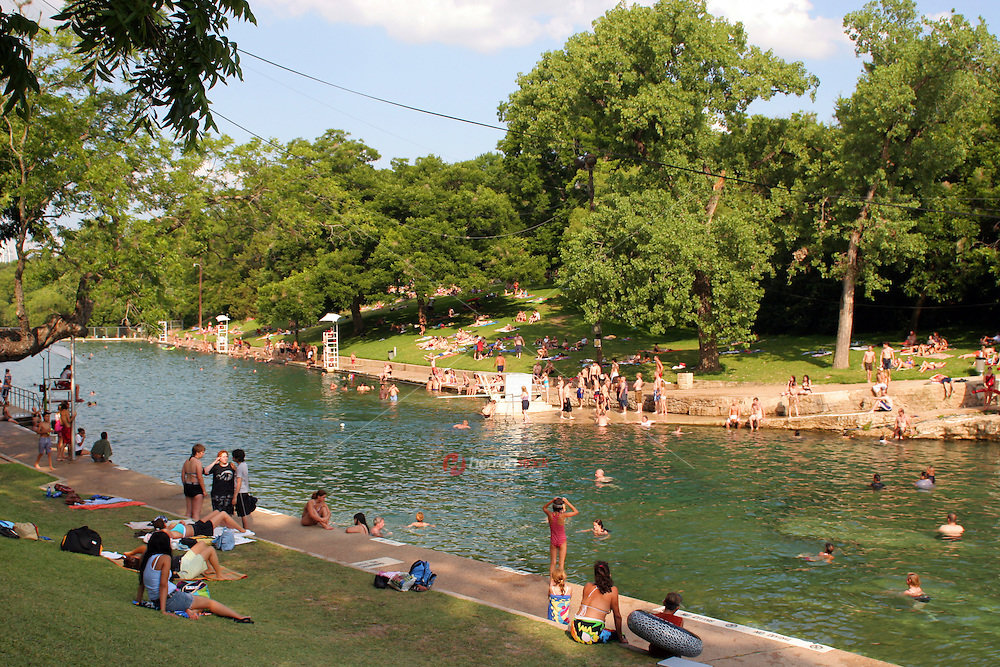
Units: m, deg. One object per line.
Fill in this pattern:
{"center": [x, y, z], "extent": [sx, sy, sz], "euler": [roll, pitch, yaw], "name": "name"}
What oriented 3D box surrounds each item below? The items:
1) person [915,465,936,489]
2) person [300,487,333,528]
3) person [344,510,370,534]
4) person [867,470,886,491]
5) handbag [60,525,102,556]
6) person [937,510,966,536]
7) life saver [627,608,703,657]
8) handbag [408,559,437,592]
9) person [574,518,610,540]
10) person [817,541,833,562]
{"center": [17.909, 6.107, 39.293], "extent": [0.629, 0.892, 1.307], "euler": [1, -7, 32], "name": "person"}
{"center": [-6.357, 6.148, 32.708], "extent": [1.009, 1.253, 0.598], "euler": [6, -6, -12], "name": "person"}
{"center": [-4.982, 6.713, 33.005], "extent": [0.840, 0.782, 0.645], "euler": [1, -4, 38], "name": "person"}
{"center": [15.912, 6.233, 39.368], "extent": [0.642, 0.391, 0.950], "euler": [1, 6, 27], "name": "person"}
{"center": [-12.823, 6.508, 28.799], "extent": [0.807, 0.876, 1.051], "euler": [18, 7, -31], "name": "handbag"}
{"center": [16.459, 7.037, 34.147], "extent": [0.909, 0.902, 0.766], "euler": [8, -7, -30], "name": "person"}
{"center": [4.442, 8.146, 25.171], "extent": [1.950, 1.054, 0.484], "euler": [3, -6, 9], "name": "life saver"}
{"center": [-2.270, 7.276, 27.952], "extent": [0.682, 0.809, 0.864], "euler": [3, 1, 16], "name": "handbag"}
{"center": [3.600, 7.252, 34.155], "extent": [0.665, 0.423, 1.116], "euler": [3, -3, -33], "name": "person"}
{"center": [11.350, 7.634, 32.463], "extent": [0.523, 0.582, 1.330], "euler": [3, -6, 20], "name": "person"}
